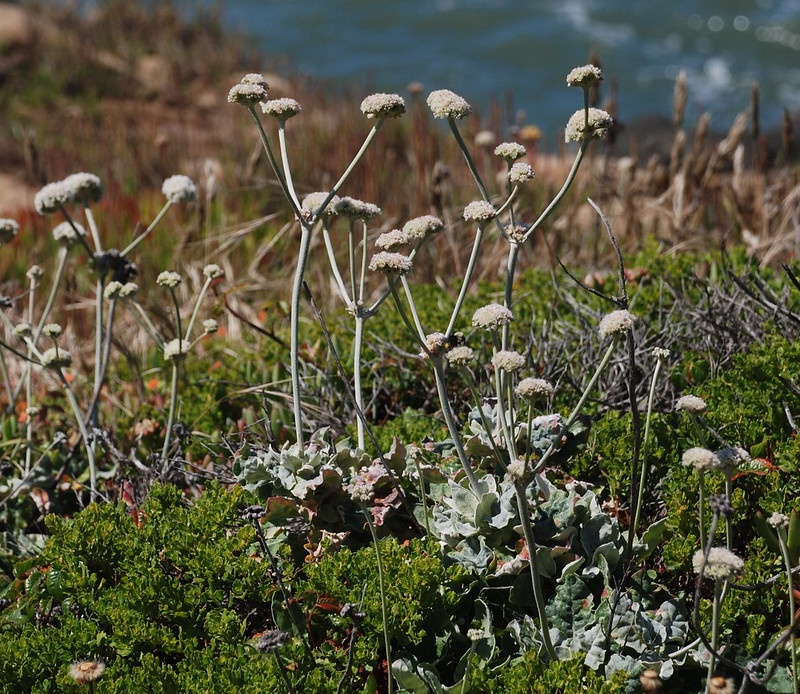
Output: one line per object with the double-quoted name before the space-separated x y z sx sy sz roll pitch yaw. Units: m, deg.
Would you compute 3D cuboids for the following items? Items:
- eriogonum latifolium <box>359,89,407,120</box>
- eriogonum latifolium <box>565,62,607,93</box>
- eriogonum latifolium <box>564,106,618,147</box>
"eriogonum latifolium" -0.084 -1.173 6.975 0.212 0.161 0.184 -3 25 3
"eriogonum latifolium" 0.917 -1.316 6.895 0.145 0.111 0.149 -21 24 -32
"eriogonum latifolium" 0.926 -1.098 7.020 0.234 0.222 0.263 3 26 14
